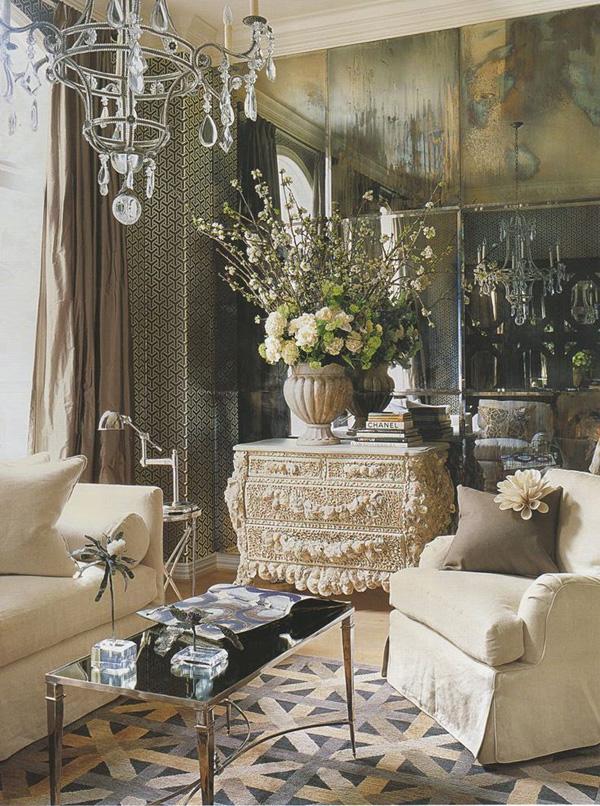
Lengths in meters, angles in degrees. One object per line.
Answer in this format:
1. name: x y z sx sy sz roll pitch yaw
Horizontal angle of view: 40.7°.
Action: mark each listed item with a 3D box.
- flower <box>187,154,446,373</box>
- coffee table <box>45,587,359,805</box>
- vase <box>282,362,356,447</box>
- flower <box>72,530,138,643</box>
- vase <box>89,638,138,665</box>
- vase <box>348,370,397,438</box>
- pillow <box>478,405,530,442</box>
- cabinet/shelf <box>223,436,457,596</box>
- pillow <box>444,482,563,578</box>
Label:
1. flower: 0.131 -0.613 4.468 1.291 0.939 1.184 0 -1 -11
2. coffee table: -0.280 0.858 2.330 0.654 0.481 0.938 -1 1 27
3. vase: 0.129 0.019 4.095 0.370 0.414 0.388 0 -1 26
4. flower: -0.540 0.537 2.304 0.184 0.270 0.179 5 -3 -6
5. vase: -0.497 0.652 2.168 0.078 0.050 0.081 0 -2 18
6. vase: 0.373 -0.019 4.552 0.296 0.413 0.309 -1 7 13
7. pillow: 1.054 0.102 4.218 0.183 0.134 0.187 0 3 21
8. cabinet/shelf: 0.188 0.585 4.147 1.086 0.754 0.479 1 1 25
9. pillow: 0.761 0.458 3.004 0.400 0.370 0.161 -3 10 35
